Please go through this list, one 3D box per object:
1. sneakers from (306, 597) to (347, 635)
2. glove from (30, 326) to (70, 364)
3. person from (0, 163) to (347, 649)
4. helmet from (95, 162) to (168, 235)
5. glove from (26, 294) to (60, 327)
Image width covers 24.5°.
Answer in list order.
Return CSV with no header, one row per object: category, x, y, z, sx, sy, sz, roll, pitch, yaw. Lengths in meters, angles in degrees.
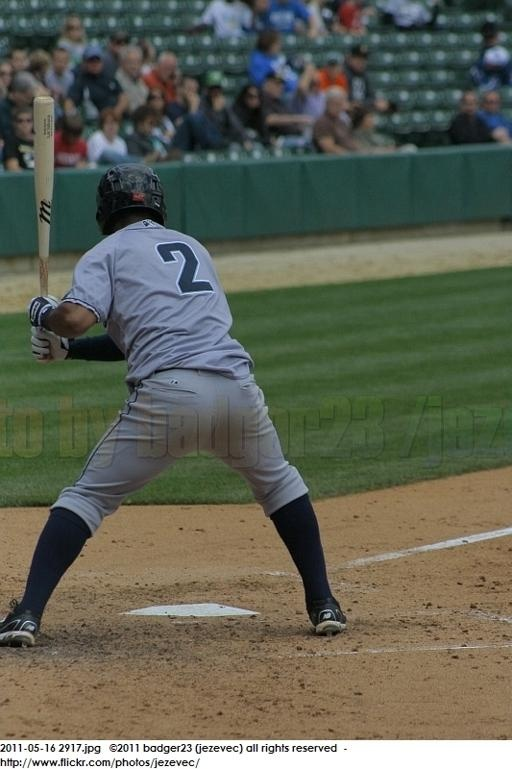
sneakers,0.212,0.706,3.509,0.064,0.068,0.161,-6,-6,6
glove,-0.617,-0.115,3.540,0.123,0.088,0.045,20,25,-19
person,-0.287,0.060,3.485,0.992,1.410,0.489,-1,9,-17
helmet,-0.389,-0.576,3.586,0.190,0.185,0.234,-3,-10,-16
glove,-0.631,-0.207,3.409,0.051,0.070,0.104,11,-20,7
